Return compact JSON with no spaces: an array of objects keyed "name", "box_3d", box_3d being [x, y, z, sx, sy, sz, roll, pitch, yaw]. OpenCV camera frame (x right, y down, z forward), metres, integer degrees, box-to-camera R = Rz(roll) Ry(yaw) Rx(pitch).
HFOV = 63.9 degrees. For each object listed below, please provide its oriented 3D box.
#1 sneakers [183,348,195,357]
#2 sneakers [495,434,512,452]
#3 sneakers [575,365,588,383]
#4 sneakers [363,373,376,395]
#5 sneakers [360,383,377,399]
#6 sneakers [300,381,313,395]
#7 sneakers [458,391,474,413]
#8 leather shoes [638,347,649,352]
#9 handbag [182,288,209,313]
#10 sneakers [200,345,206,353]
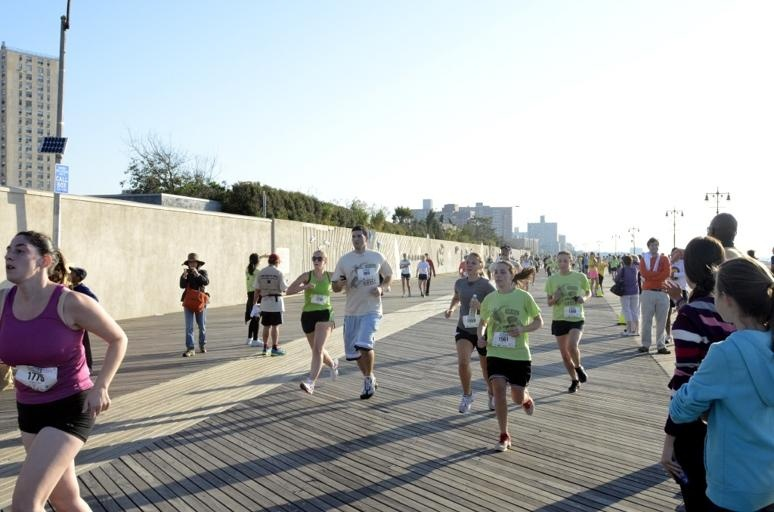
[{"name":"sneakers","box_3d":[-3.778,1.861,11.908,0.097,0.147,0.287,-4,-13,20]},{"name":"sneakers","box_3d":[1.308,2.125,6.998,0.092,0.129,0.278,-4,-13,22]},{"name":"sneakers","box_3d":[3.011,1.845,9.639,0.110,0.300,0.120,-36,-39,25]},{"name":"sneakers","box_3d":[-0.258,1.881,8.843,0.112,0.394,0.168,-1,-18,11]},{"name":"sneakers","box_3d":[-0.274,1.911,8.843,0.157,0.294,0.082,11,8,-28]},{"name":"sneakers","box_3d":[-1.176,1.936,9.105,0.196,0.223,0.320,0,5,-7]},{"name":"sneakers","box_3d":[1.055,1.980,8.368,0.150,0.376,0.118,36,-26,-33]},{"name":"leather shoes","box_3d":[5.137,1.879,12.386,0.126,0.080,0.102,1,-6,-31]},{"name":"handbag","box_3d":[-3.722,0.855,12.031,0.450,0.471,0.299,-1,5,-19]},{"name":"sneakers","box_3d":[-3.642,1.849,12.346,0.062,0.152,0.198,1,4,-1]}]
